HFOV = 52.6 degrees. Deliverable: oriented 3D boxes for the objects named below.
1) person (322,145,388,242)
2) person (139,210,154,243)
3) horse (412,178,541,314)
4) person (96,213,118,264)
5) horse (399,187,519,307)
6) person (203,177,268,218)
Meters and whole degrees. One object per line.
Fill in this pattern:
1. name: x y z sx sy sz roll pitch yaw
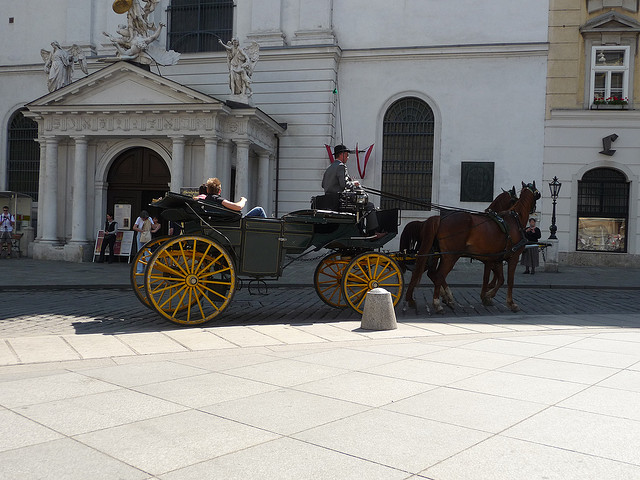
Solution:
1. person: 0.517 -0.851 11.510 0.575 1.672 1.230 -5 8 -43
2. person: -5.121 -0.369 18.941 0.367 0.981 0.983 -1 6 -14
3. horse: 3.176 0.171 12.560 3.561 2.481 0.994 -3 5 -34
4. person: -7.298 -0.041 22.064 0.627 1.622 0.932 -2 6 -19
5. horse: 3.145 0.228 12.919 3.596 2.280 0.845 -1 -2 -36
6. person: -1.452 -0.604 11.210 1.306 0.814 0.606 1 -4 -37
